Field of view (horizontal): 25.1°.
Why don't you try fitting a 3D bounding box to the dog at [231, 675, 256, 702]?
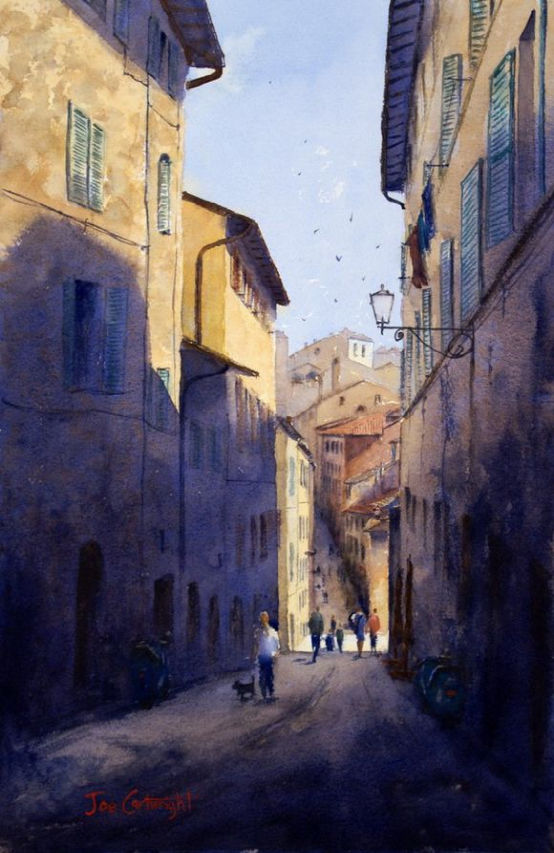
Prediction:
[{"bbox_3d":[-0.326,2.512,11.979,0.226,0.239,0.137,-2,-10,-6],"label":"dog"}]
